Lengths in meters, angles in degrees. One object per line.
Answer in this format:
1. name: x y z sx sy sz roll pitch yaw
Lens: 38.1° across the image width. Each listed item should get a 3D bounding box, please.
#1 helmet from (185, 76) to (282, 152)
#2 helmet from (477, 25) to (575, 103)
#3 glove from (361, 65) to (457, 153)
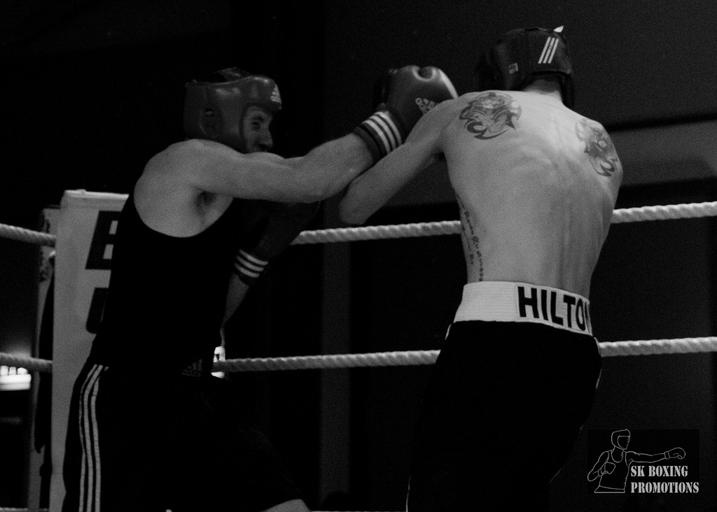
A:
1. helmet: -0.539 -0.596 4.356 0.415 0.296 0.299 -4 0 9
2. helmet: 0.661 -0.779 4.228 0.401 0.302 0.267 9 -4 19
3. glove: 0.173 -0.610 4.239 0.339 0.178 0.419 30 63 7
